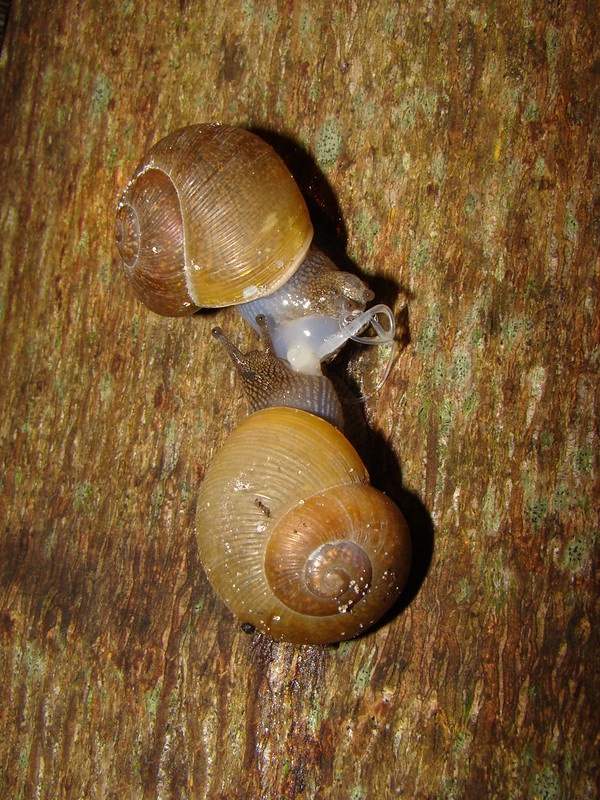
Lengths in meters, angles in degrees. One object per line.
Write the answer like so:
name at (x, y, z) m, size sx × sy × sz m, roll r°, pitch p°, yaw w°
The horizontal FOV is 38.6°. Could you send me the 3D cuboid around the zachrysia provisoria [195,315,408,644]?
zachrysia provisoria at (-0.012, 0.137, 1.278) m, size 0.199 × 0.146 × 0.563 m, roll -13°, pitch 74°, yaw 20°
